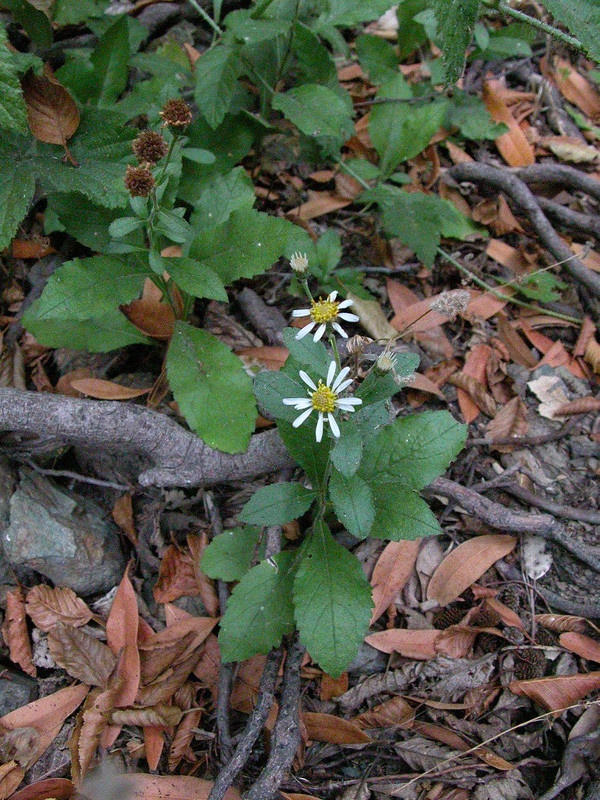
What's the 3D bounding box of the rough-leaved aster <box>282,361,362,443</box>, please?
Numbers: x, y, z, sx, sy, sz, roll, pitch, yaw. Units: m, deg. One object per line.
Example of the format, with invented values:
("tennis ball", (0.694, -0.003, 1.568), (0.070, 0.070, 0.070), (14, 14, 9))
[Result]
("rough-leaved aster", (0.065, 0.000, 2.024), (0.244, 0.209, 0.057), (-4, 49, -8))
